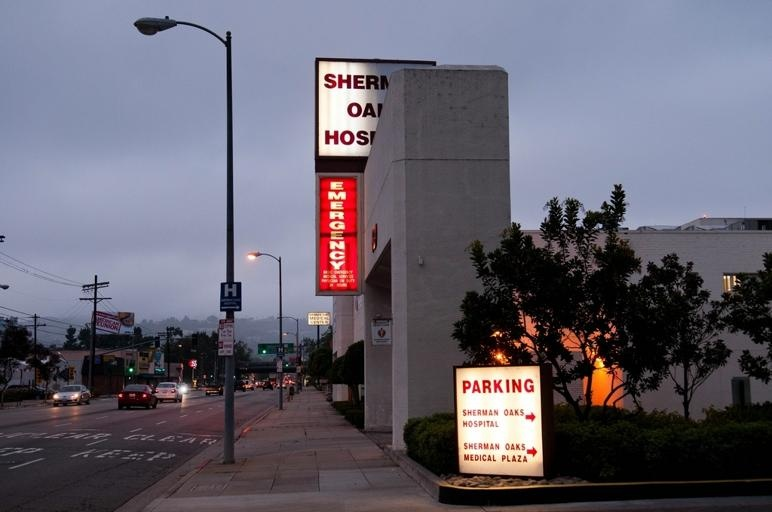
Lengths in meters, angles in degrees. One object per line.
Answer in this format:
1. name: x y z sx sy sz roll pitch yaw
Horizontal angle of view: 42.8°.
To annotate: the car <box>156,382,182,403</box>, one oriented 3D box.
1. car: -16.788 10.512 76.638 1.590 1.290 3.807 1 -5 -5
